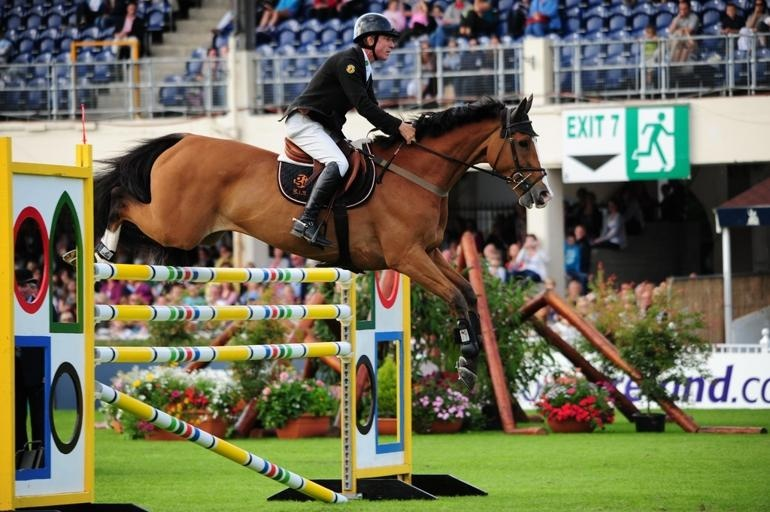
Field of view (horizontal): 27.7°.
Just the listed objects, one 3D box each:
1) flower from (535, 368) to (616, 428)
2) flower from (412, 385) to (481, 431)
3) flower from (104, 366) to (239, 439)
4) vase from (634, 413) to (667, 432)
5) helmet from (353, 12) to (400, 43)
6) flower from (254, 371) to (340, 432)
[{"bbox_3d":[2.671,1.998,21.850,0.811,0.564,0.810,5,-7,-9],"label":"flower"},{"bbox_3d":[0.827,2.107,22.135,0.718,0.504,0.720,3,2,36],"label":"flower"},{"bbox_3d":[-2.898,1.966,22.225,1.113,0.715,1.481,1,-3,18],"label":"flower"},{"bbox_3d":[3.723,2.290,21.593,0.298,0.128,0.291,-2,1,-35],"label":"vase"},{"bbox_3d":[-0.110,-2.658,18.132,0.441,0.241,0.342,-2,7,-9],"label":"helmet"},{"bbox_3d":[-1.265,2.058,22.210,0.972,0.671,0.850,4,-8,-40],"label":"flower"}]
